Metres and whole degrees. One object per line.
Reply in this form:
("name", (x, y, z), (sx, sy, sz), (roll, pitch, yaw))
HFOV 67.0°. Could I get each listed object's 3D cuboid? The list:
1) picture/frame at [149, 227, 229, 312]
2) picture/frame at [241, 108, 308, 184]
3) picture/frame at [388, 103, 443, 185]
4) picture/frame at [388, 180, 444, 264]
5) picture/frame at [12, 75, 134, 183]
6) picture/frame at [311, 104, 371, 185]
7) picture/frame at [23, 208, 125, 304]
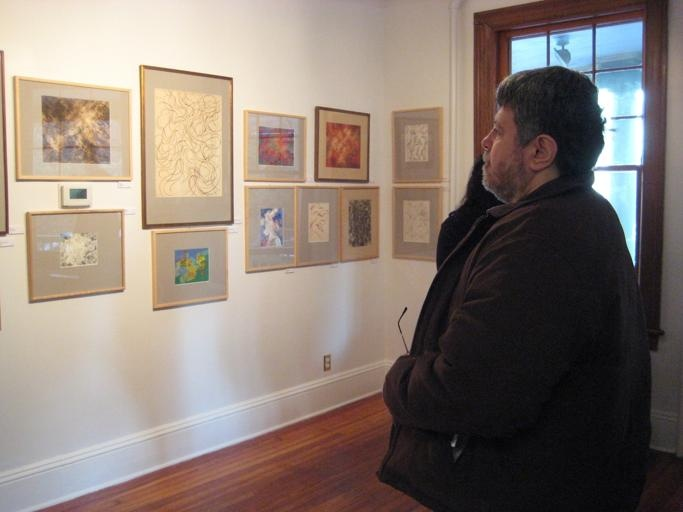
("picture/frame", (-1.068, 0.080, 3.483), (0.537, 0.554, 0.036), (-3, 4, -39))
("picture/frame", (-0.535, -0.833, 3.850), (0.552, 0.554, 0.023), (-7, 10, -40))
("picture/frame", (0.649, -0.978, 4.427), (0.645, 0.938, 0.079), (2, 5, 36))
("picture/frame", (0.632, -0.309, 4.324), (0.640, 0.849, 0.055), (5, 6, 39))
("picture/frame", (-1.610, -0.749, 3.001), (0.618, 0.608, 0.022), (-5, 9, -37))
("picture/frame", (-0.036, -0.935, 4.254), (0.669, 0.707, 0.063), (-3, 3, -43))
("picture/frame", (-1.628, -0.013, 3.056), (0.530, 0.529, 0.041), (-4, 6, -39))
